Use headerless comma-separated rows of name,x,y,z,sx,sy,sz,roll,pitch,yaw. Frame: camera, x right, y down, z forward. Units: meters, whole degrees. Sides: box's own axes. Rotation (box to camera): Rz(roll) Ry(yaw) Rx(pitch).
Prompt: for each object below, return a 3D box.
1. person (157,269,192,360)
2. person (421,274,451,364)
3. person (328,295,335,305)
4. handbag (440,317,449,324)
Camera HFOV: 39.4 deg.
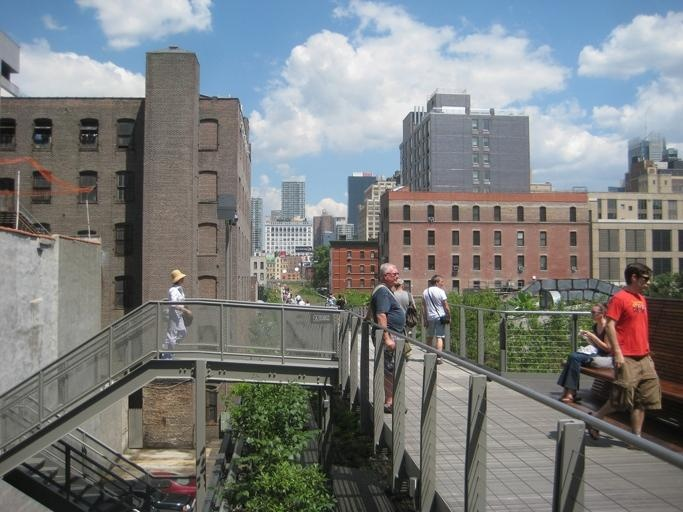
person,-5.700,2.024,33.179,0.769,2.465,0.751,0,0,36
person,3.211,1.874,32.438,0.668,1.752,1.043,1,0,-38
person,-0.585,2.554,55.408,0.495,0.582,0.981,-2,-7,-1
handbag,3.482,2.161,32.197,0.247,0.246,0.245,-2,-44,0
